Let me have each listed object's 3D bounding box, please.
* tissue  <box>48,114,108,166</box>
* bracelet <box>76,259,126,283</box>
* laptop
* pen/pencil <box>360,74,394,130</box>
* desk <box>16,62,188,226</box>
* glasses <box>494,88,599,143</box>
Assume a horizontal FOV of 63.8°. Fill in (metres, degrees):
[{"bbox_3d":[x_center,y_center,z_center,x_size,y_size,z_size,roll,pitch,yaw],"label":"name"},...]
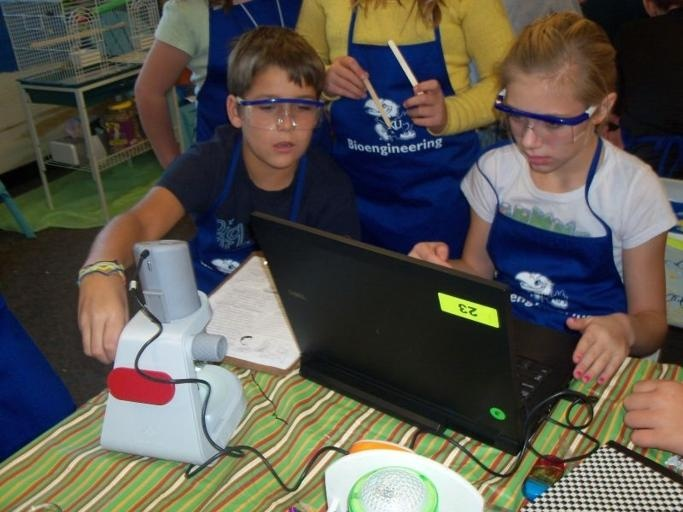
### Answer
[{"bbox_3d":[-1.950,-0.859,4.121,0.374,0.263,0.388,26,56,35],"label":"tissue "},{"bbox_3d":[-0.569,0.032,1.301,0.095,0.033,0.062,-7,32,-7],"label":"bracelet"},{"bbox_3d":[0.207,0.156,1.248,0.606,0.506,0.500,20,45,36],"label":"laptop"},{"bbox_3d":[0.122,-0.516,1.816,0.028,0.212,0.017,-20,27,29],"label":"pen/pencil"},{"bbox_3d":[-1.610,-0.751,3.572,0.637,0.895,0.946,13,38,20],"label":"desk"},{"bbox_3d":[0.518,-0.356,1.408,0.249,0.106,0.118,9,33,20],"label":"glasses"}]
